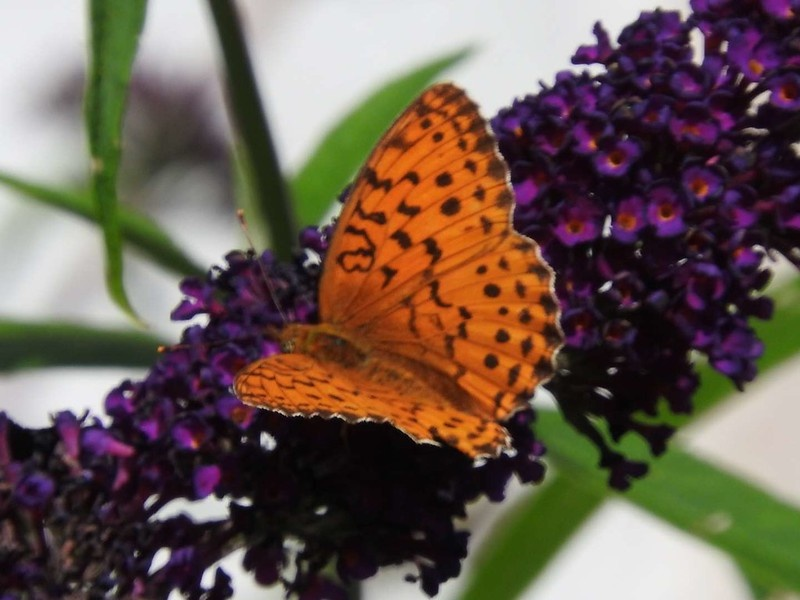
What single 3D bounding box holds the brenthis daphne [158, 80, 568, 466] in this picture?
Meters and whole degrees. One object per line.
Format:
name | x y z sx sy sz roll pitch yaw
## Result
brenthis daphne | -0.067 0.098 1.713 0.720 0.858 0.440 -6 -50 3
